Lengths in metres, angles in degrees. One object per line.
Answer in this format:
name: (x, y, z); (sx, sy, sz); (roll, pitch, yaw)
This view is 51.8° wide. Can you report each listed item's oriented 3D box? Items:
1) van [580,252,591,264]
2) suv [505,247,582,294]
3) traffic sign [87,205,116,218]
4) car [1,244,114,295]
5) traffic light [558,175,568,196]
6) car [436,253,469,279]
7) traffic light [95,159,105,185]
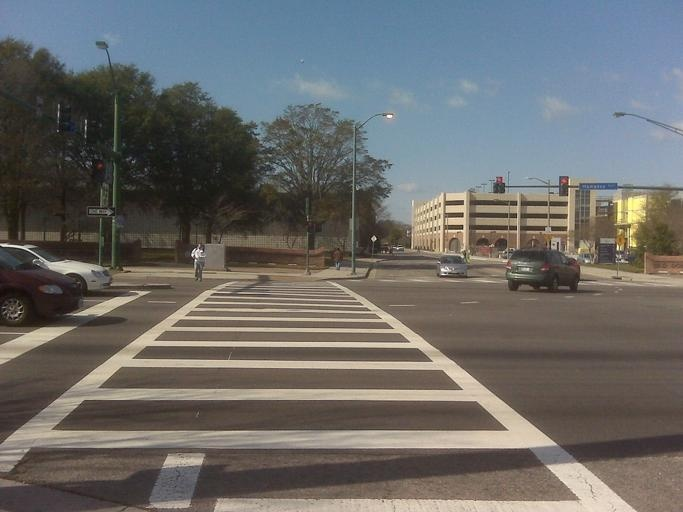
van: (25.139, 0.091, 72.790); (1.085, 0.881, 1.810); (0, 2, 7)
suv: (7.952, 0.489, 27.429); (1.438, 1.234, 3.046); (1, 3, 34)
traffic sign: (-10.866, -2.067, 31.636); (1.122, 0.405, 0.652); (3, 7, 14)
car: (-7.962, 0.442, 20.106); (3.065, 1.058, 1.397); (2, 3, -13)
traffic light: (15.431, -4.906, 48.903); (0.523, 1.394, 11.150); (3, 7, 18)
car: (6.422, 0.617, 40.936); (1.724, 1.050, 2.533); (2, 7, 8)
traffic light: (-10.289, -3.673, 29.919); (0.469, 0.912, 0.571); (-1, 7, -20)
